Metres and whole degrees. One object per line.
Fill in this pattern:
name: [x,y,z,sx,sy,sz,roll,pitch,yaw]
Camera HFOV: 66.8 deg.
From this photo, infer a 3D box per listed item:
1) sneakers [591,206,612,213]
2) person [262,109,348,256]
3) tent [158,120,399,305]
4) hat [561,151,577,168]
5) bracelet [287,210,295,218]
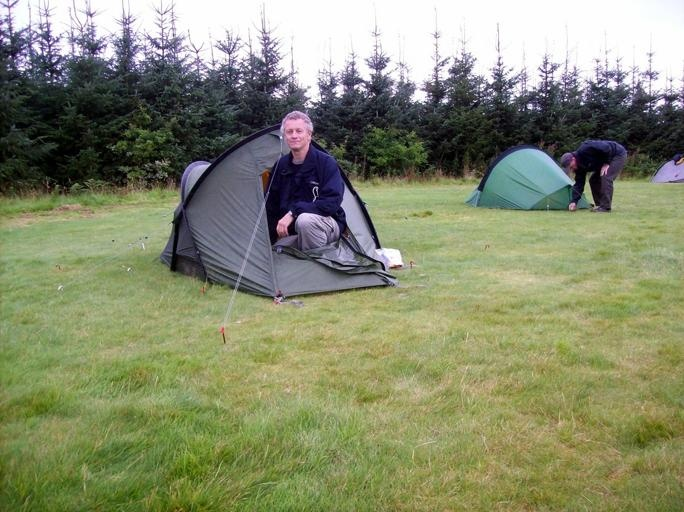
sneakers: [6.046,-1.100,12.142,0.136,0.170,0.377,-5,5,-29]
person: [-0.540,-0.902,6.139,1.054,1.558,1.036,6,16,27]
tent: [-0.847,-0.709,6.411,2.633,1.401,1.892,13,17,38]
hat: [5.193,-2.185,11.889,0.303,0.342,0.757,6,15,24]
bracelet: [-0.590,-0.482,5.918,0.028,0.075,0.054,-7,37,-36]
